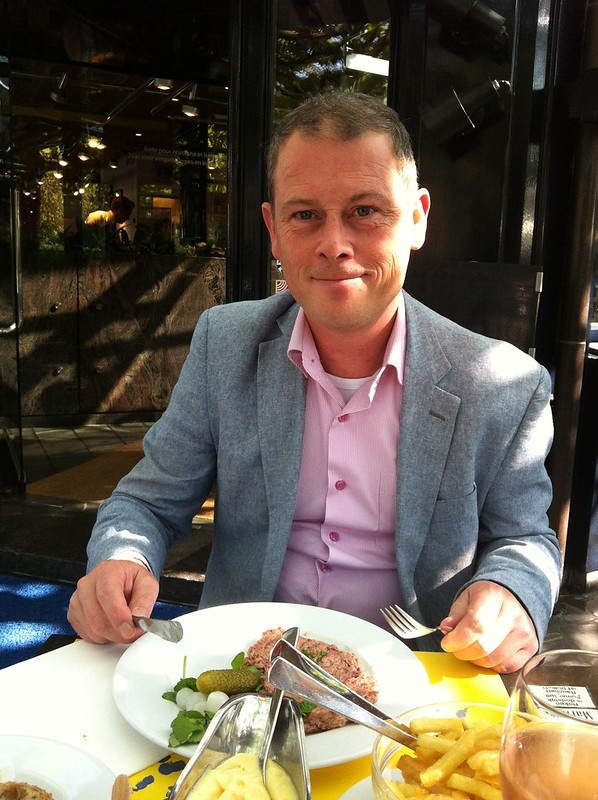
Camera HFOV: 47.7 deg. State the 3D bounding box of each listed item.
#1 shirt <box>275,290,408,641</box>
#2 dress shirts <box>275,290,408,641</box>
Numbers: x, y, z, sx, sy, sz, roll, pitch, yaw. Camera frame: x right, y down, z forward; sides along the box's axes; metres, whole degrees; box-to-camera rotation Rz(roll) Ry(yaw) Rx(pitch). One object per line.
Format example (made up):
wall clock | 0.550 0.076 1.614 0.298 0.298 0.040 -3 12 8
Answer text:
shirt | 0.127 0.174 1.520 0.332 0.574 0.209 6 3 13
dress shirts | 0.127 0.182 1.513 0.332 0.574 0.209 6 3 13
